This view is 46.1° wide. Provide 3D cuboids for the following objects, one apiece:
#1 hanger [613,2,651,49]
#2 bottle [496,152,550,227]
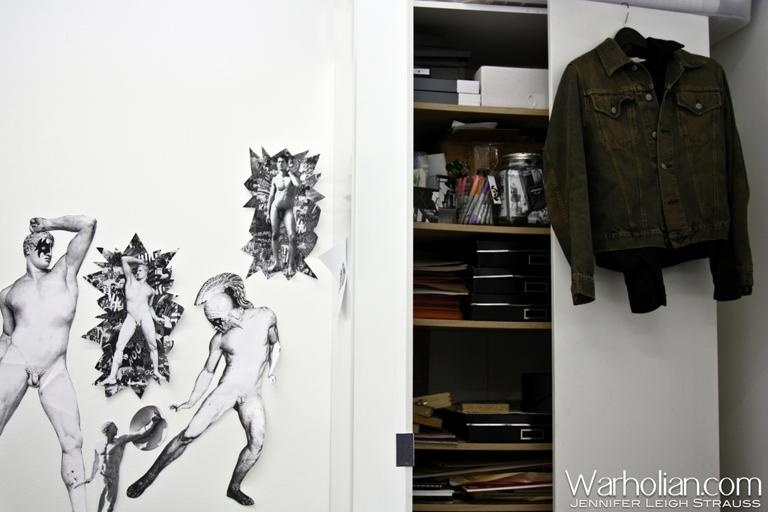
[{"bbox_3d":[1.048,-0.971,3.817,0.203,0.233,0.005,0,-4,2],"label":"hanger"},{"bbox_3d":[0.607,-0.283,3.887,0.254,0.372,0.279,0,-8,-1],"label":"bottle"}]
